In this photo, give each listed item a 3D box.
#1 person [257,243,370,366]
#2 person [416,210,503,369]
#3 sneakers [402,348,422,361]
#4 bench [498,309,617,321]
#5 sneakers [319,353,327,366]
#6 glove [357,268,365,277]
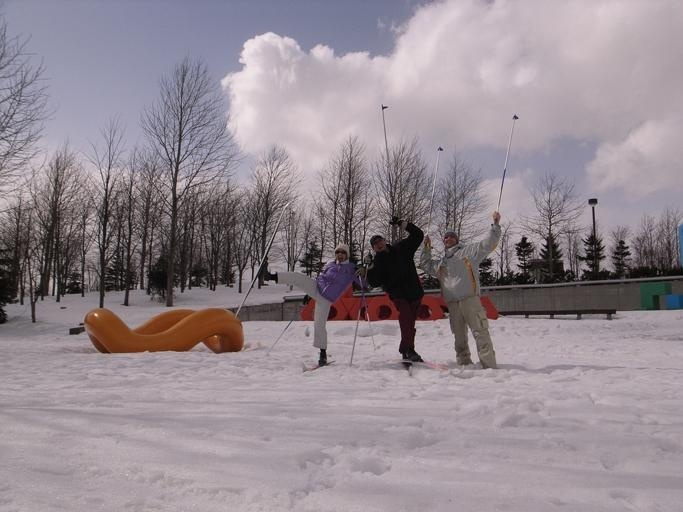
[{"bbox_3d":[-0.304,0.658,7.585,1.353,1.642,0.687,2,-5,-32],"label":"person"},{"bbox_3d":[1.703,0.442,7.233,0.348,1.987,0.923,3,-6,-45],"label":"person"},{"bbox_3d":[0.982,1.337,7.375,0.246,0.168,0.118,-5,-7,40],"label":"sneakers"},{"bbox_3d":[6.219,1.655,15.617,2.671,0.277,3.253,-3,-6,15],"label":"bench"},{"bbox_3d":[-0.225,1.379,7.368,0.088,0.189,0.175,1,-8,-3],"label":"sneakers"},{"bbox_3d":[0.321,0.227,7.648,0.080,0.037,0.119,-4,-44,5],"label":"glove"}]
